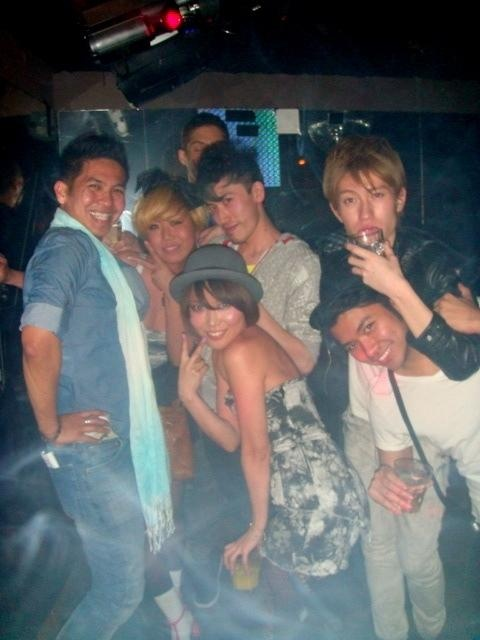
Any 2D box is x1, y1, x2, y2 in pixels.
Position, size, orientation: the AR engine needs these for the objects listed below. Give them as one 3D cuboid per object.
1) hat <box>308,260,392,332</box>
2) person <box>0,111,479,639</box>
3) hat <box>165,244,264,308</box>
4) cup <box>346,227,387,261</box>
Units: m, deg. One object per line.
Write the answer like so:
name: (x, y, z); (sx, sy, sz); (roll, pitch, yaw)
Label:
hat: (0.498, -0.077, 2.586); (0.208, 0.279, 0.420); (-10, 5, -28)
person: (-0.048, 0.378, 2.603); (2.837, 1.050, 0.928); (18, 21, 4)
hat: (-0.126, -0.196, 2.402); (0.420, 0.290, 0.235); (-7, 4, 2)
cup: (0.581, -0.351, 2.448); (0.119, 0.101, 0.138); (-26, 12, 8)
